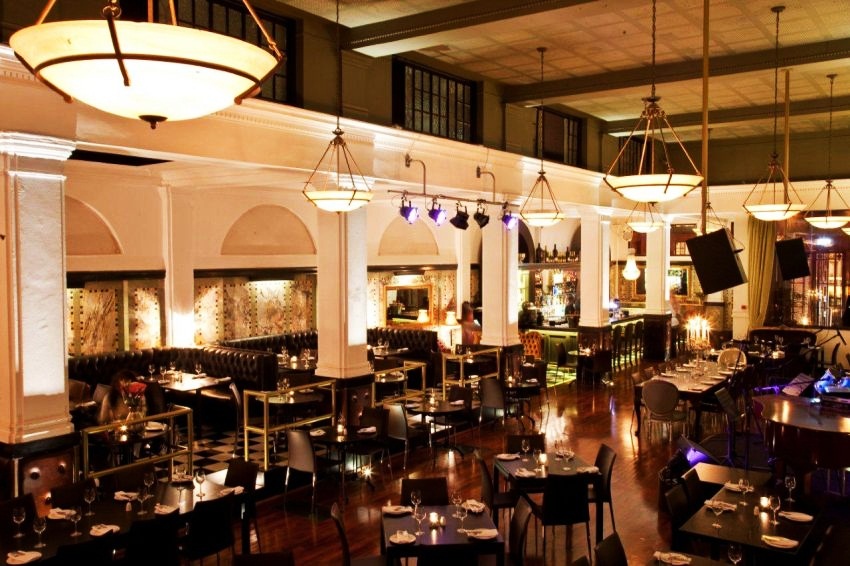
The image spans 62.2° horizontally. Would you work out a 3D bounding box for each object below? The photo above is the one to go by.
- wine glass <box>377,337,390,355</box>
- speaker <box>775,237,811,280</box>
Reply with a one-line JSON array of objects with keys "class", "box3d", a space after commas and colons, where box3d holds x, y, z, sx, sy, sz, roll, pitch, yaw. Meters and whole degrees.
[{"class": "wine glass", "box3d": [-0.912, 1.411, 15.716, 0.218, 0.294, 0.217, 0, -7, -3]}, {"class": "speaker", "box3d": [5.663, -0.409, 10.862, 0.400, 0.482, 0.528, -3, -3, 26]}]
